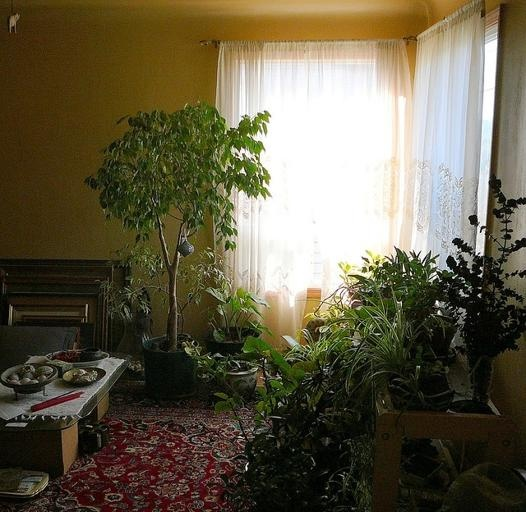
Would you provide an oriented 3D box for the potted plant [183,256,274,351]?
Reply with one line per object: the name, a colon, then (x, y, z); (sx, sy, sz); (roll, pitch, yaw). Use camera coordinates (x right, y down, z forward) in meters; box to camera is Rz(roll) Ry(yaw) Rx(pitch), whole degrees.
potted plant: (-0.218, 0.351, 3.208); (0.526, 0.870, 0.633); (-5, 10, -7)
